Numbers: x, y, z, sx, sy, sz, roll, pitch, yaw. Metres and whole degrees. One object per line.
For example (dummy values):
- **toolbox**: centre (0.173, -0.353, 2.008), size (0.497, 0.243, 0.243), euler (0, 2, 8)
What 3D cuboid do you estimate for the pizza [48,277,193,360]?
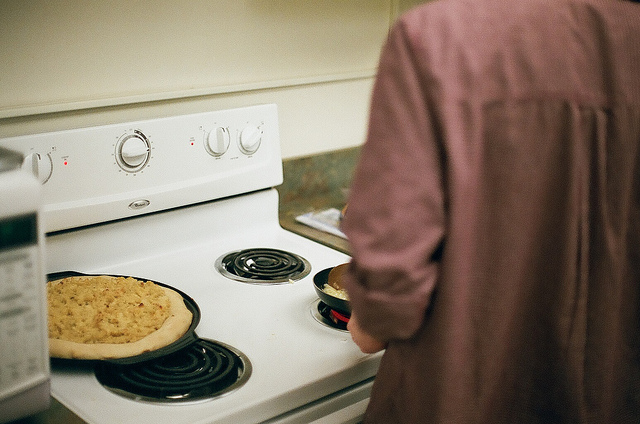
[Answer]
- **pizza**: centre (-0.418, 0.221, 1.114), size (0.198, 0.024, 0.175), euler (24, 23, 40)

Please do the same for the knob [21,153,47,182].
- **knob**: centre (-0.632, -0.100, 1.207), size (0.044, 0.062, 0.029), euler (-18, 29, -25)
